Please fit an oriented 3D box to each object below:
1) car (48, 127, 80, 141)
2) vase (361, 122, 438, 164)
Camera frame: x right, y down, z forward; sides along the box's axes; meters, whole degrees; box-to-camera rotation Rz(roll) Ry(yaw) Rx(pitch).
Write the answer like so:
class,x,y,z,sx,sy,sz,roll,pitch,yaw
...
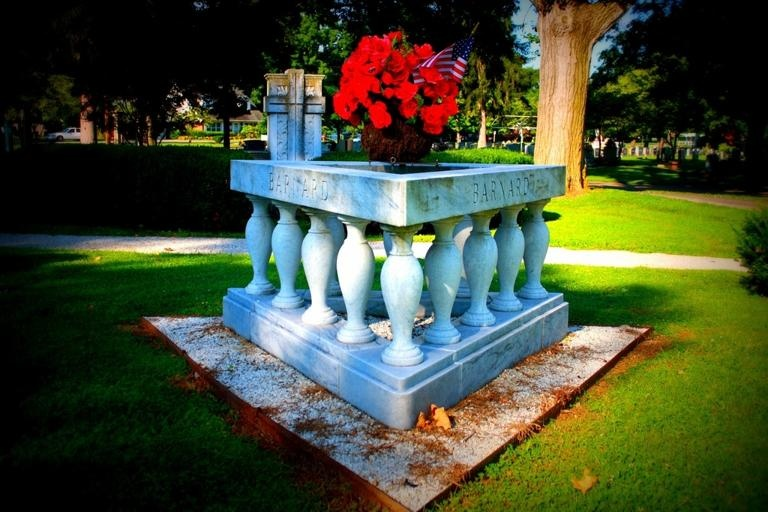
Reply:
class,x,y,z,sx,sy,sz,roll,pitch,yaw
car,-34.225,-13.150,61.351,2.753,1.314,8.153,-6,15,-26
vase,0.168,-1.216,6.136,0.523,0.269,0.481,-6,14,-35
